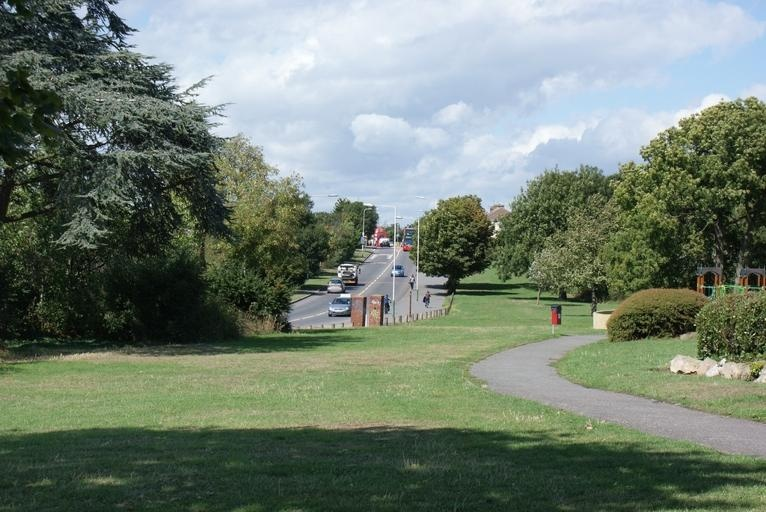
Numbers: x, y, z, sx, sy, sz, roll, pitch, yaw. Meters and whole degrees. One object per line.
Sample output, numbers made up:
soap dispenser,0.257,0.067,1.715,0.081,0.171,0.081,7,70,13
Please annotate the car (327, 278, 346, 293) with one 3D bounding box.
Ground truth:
car,-4.762,2.956,99.685,1.088,0.893,2.676,1,7,1

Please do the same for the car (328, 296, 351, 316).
car,-3.394,3.859,75.765,1.612,1.358,2.540,1,7,0

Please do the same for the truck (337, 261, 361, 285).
truck,-3.974,2.003,110.062,1.645,1.626,3.076,1,4,1

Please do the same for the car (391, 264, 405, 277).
car,1.722,1.749,119.711,1.268,1.051,3.129,1,5,4
